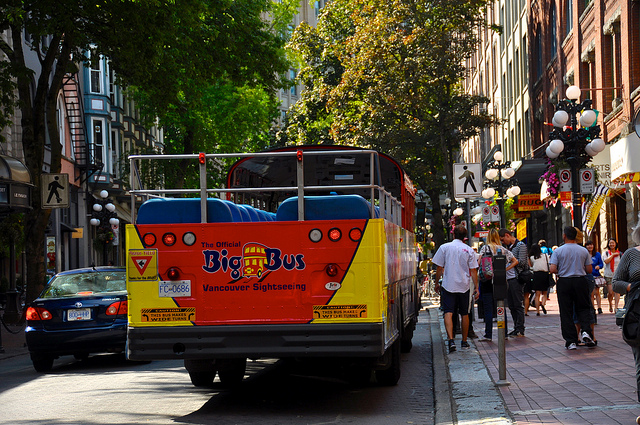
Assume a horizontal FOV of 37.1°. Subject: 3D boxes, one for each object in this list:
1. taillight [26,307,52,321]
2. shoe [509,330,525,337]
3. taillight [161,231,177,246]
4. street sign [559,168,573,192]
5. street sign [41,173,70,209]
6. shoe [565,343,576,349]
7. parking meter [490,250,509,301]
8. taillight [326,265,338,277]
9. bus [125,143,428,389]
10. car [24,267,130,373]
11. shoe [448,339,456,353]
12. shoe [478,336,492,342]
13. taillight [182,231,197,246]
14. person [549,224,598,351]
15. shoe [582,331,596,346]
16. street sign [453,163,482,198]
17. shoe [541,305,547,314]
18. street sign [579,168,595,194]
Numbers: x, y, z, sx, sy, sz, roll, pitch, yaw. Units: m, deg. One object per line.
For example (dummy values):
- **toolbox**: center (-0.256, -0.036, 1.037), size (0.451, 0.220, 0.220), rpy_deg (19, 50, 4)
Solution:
- **taillight**: center (-6.310, 2.286, 21.420), size (0.568, 0.295, 0.057), rpy_deg (-3, -4, 16)
- **shoe**: center (4.942, 3.021, 23.750), size (0.309, 0.174, 0.102), rpy_deg (-1, -4, -12)
- **taillight**: center (-2.773, 0.470, 17.430), size (0.260, 0.227, 0.059), rpy_deg (16, 1, 2)
- **street sign**: center (7.128, -0.950, 27.654), size (0.315, 0.686, 0.956), rpy_deg (-3, -4, 12)
- **street sign**: center (-8.100, -0.671, 28.999), size (1.278, 1.324, 0.104), rpy_deg (0, -1, -8)
- **shoe**: center (5.634, 2.995, 21.376), size (0.169, 0.155, 0.395), rpy_deg (5, -2, -6)
- **parking meter**: center (3.576, 1.305, 18.958), size (0.271, 0.899, 0.611), rpy_deg (-3, -4, 7)
- **taillight**: center (0.208, 1.058, 17.214), size (0.212, 0.180, 0.081), rpy_deg (-3, -3, 5)
- **bus**: center (-0.598, 0.879, 21.326), size (5.048, 4.054, 8.541), rpy_deg (0, 0, 10)
- **car**: center (-5.528, 2.534, 21.630), size (2.214, 2.146, 1.061), rpy_deg (-1, -4, -10)
- **shoe**: center (3.039, 3.077, 21.955), size (0.145, 0.303, 0.233), rpy_deg (-2, -4, 5)
- **shoe**: center (4.040, 3.131, 23.468), size (0.278, 0.097, 0.098), rpy_deg (0, -3, 26)
- **taillight**: center (-2.388, 0.477, 17.412), size (0.304, 0.258, 0.065), rpy_deg (1, -1, -2)
- **person**: center (5.720, 1.705, 21.624), size (0.909, 2.772, 0.572), rpy_deg (-3, -4, 13)
- **shoe**: center (6.069, 2.873, 21.559), size (0.154, 0.178, 0.447), rpy_deg (-12, -44, 38)
- **street sign**: center (3.967, -0.862, 25.573), size (1.071, 1.052, 0.153), rpy_deg (-1, -6, 4)
- **shoe**: center (7.134, 3.107, 30.410), size (0.119, 0.354, 0.145), rpy_deg (-29, 18, -8)
- **street sign**: center (7.355, -0.886, 26.301), size (0.379, 0.716, 0.819), rpy_deg (-3, -4, 14)
